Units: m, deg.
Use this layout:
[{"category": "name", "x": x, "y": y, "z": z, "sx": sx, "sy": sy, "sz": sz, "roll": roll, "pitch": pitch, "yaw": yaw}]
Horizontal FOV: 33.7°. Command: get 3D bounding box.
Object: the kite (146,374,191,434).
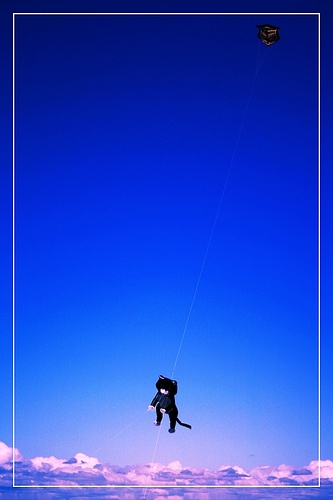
[{"category": "kite", "x": 0.029, "y": 0.854, "z": 3.024, "sx": 0.236, "sy": 0.313, "sz": 0.161, "roll": 9, "pitch": -3, "yaw": -9}]
